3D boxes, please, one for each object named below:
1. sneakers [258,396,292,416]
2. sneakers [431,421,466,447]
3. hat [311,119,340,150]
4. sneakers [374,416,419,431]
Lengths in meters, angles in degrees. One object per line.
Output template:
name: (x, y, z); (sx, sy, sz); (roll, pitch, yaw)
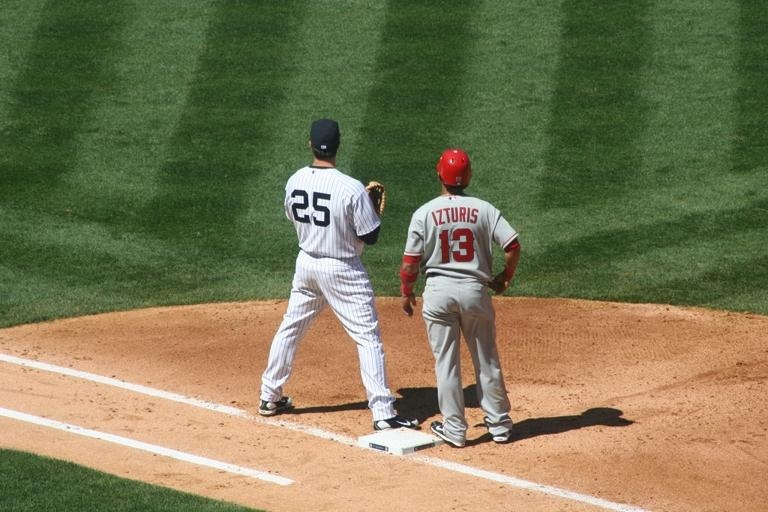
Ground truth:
sneakers: (-1.248, 1.746, 13.325); (0.418, 0.167, 0.164); (-12, 18, -44)
sneakers: (0.678, 2.010, 12.871); (0.465, 0.179, 0.175); (36, 16, 30)
hat: (-0.684, -1.414, 13.046); (0.428, 0.307, 0.523); (-1, 40, -3)
sneakers: (0.116, 1.895, 13.037); (0.554, 0.183, 0.180); (-6, 7, -11)
